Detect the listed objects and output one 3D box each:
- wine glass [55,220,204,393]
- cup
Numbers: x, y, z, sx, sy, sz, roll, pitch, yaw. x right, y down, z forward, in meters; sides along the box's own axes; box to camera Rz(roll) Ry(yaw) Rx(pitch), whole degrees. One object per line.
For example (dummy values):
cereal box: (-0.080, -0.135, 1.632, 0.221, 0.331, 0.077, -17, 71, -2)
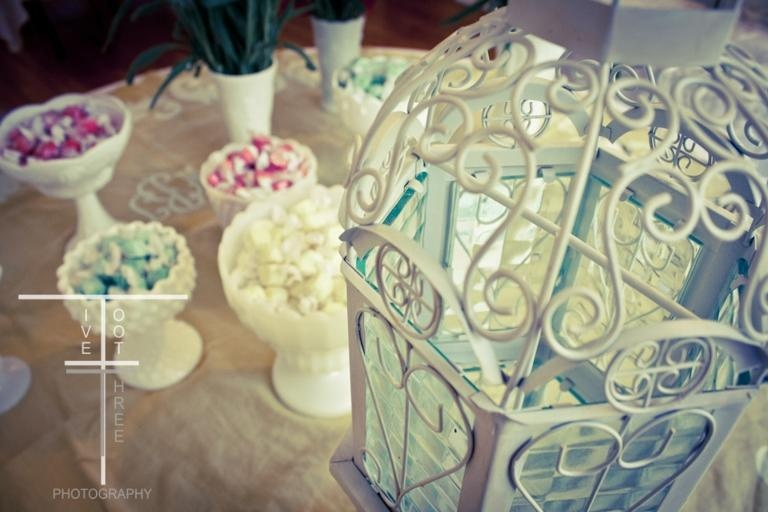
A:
wine glass: (-0.391, 0.090, 1.055, 0.163, 0.180, 0.161, 36, 58, 18)
cup: (-0.198, -0.133, 1.152, 0.160, 0.111, 0.154, -2, 52, 3)
